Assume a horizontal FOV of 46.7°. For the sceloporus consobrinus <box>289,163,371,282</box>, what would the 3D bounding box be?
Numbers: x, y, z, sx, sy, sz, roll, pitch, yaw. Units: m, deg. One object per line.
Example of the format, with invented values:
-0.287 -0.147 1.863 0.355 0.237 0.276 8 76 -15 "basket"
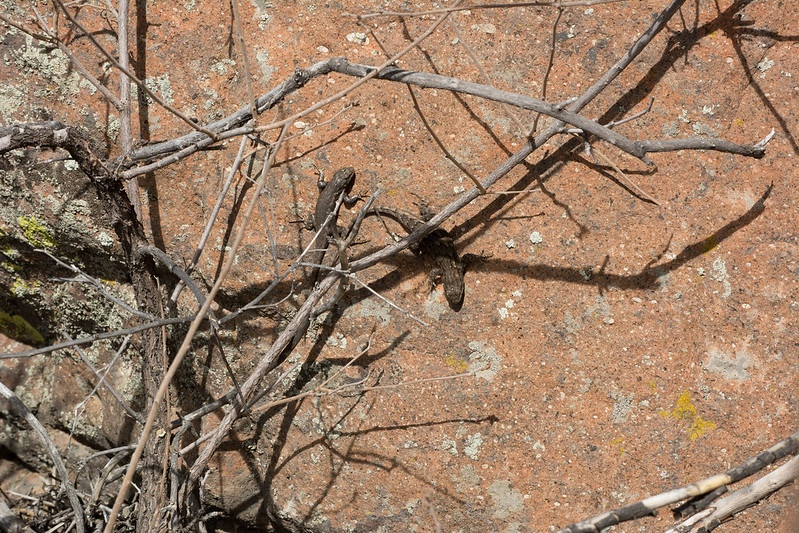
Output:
-0.749 -0.500 9.183 0.570 0.176 1.240 18 -90 14 "sceloporus consobrinus"
